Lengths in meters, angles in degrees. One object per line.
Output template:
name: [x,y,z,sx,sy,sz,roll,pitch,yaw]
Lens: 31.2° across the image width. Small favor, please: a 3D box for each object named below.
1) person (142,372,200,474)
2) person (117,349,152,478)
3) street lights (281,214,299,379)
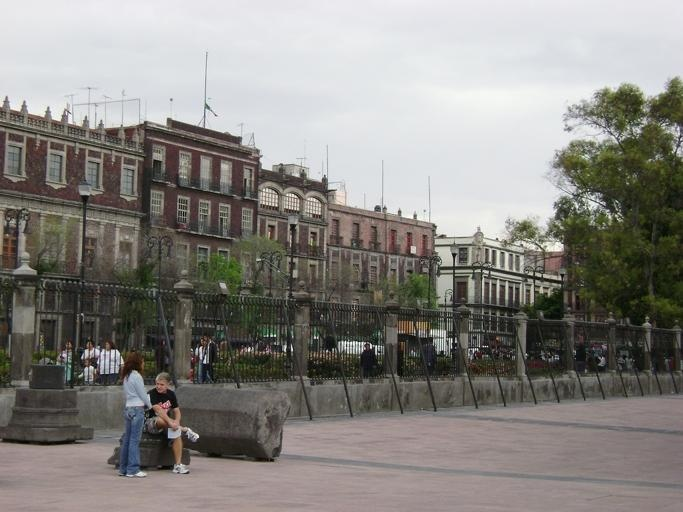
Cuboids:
person: [-3.164,3.092,23.122,0.961,1.854,0.972,2,-2,-37]
person: [-3.831,2.935,22.607,0.557,1.889,1.147,4,1,-10]
street lights: [-2.374,1.247,54.688,0.613,7.087,0.698,0,-4,-45]
